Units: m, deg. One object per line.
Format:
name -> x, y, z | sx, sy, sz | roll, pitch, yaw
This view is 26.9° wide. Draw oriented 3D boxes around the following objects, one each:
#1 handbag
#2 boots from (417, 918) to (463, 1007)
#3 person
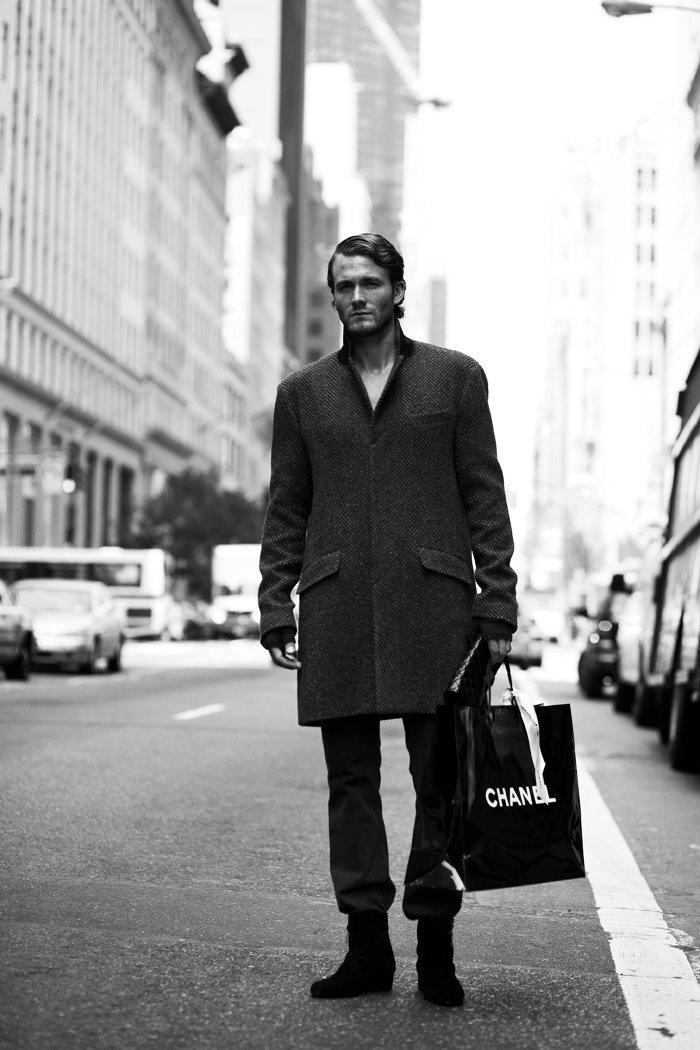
handbag -> 0.380, 0.551, 3.172 | 0.276, 0.460, 0.158 | -5, 34, 15
boots -> 0.196, 0.944, 3.184 | 0.100, 0.175, 0.267 | 0, 2, 2
person -> 0.070, 0.196, 3.338 | 0.610, 1.760, 0.568 | 0, 2, 7
